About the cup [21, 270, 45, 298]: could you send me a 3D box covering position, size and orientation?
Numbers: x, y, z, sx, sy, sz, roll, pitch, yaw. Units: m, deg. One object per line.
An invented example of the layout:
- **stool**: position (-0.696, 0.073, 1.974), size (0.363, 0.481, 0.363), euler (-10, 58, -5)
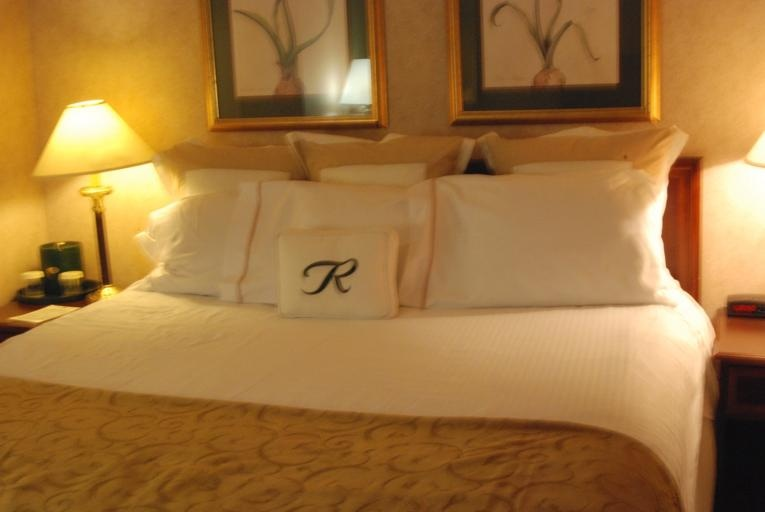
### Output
- **cup**: position (-1.931, 0.153, 3.475), size (0.148, 0.153, 0.143), euler (2, 7, 0)

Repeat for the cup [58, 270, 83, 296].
- **cup**: position (-1.695, 0.156, 3.428), size (0.124, 0.123, 0.122), euler (0, 3, 0)
